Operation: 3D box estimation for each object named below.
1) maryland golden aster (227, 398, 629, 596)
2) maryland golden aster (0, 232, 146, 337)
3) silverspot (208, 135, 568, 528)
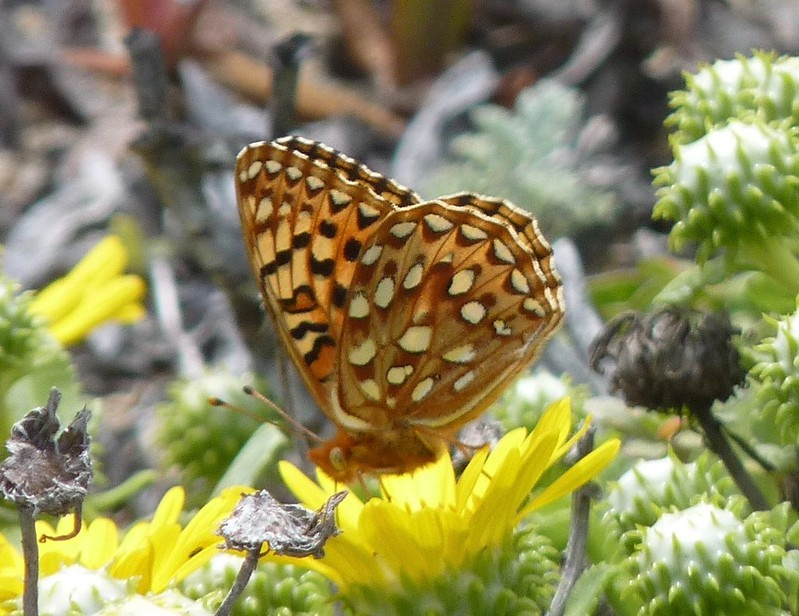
[{"bbox_3d":[0.079,0.244,1.781,0.268,0.156,0.307,-22,-5,9],"label":"maryland golden aster"},{"bbox_3d":[-0.444,-0.025,2.070,0.144,0.146,0.045,-36,0,-28],"label":"maryland golden aster"},{"bbox_3d":[-0.038,0.034,2.143,0.486,0.452,0.513,-12,-3,-11],"label":"silverspot"}]
